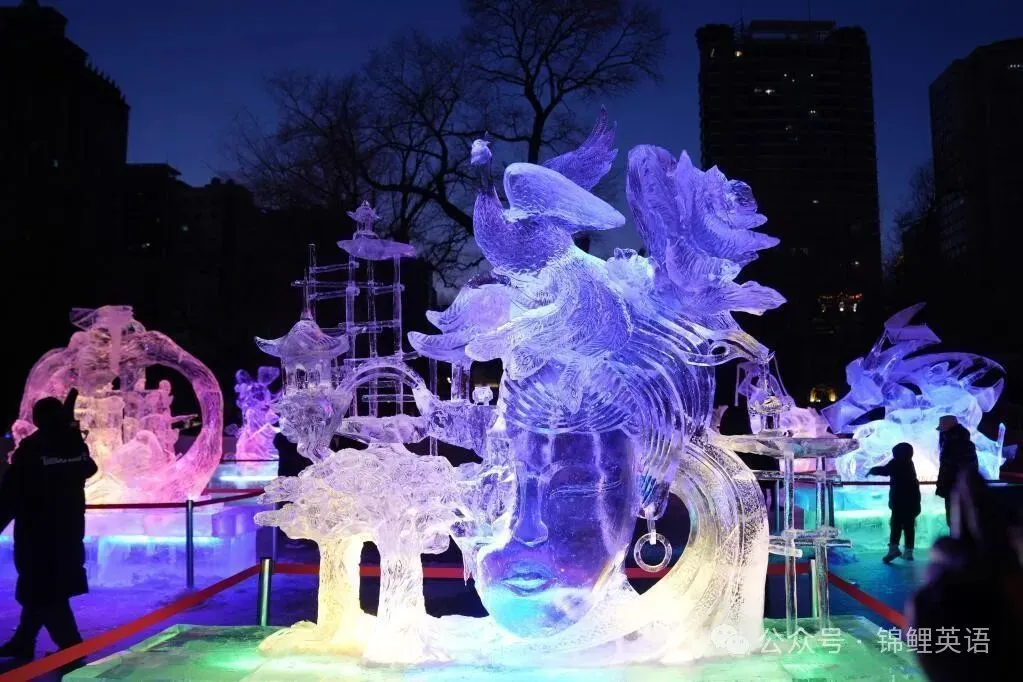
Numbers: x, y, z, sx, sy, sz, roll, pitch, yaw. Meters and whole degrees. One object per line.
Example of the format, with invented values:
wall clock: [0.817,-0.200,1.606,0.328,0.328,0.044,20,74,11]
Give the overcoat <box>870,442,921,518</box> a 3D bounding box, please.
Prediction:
overcoat: [4.189,1.504,10.656,0.352,0.778,0.340,-2,-3,9]

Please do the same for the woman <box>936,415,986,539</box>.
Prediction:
woman: [4.543,1.356,10.091,0.396,1.159,1.438,-3,-3,24]

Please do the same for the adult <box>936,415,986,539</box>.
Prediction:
adult: [4.551,1.356,10.108,0.396,1.159,1.401,-3,-3,24]

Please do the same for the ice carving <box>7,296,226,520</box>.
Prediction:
ice carving: [-4.577,0.778,11.213,3.205,2.900,0.797,1,2,-8]

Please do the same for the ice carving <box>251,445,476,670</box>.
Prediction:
ice carving: [-0.998,1.699,7.875,1.757,1.436,1.497,0,-10,8]

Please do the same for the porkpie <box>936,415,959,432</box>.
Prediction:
porkpie: [4.557,0.872,10.339,0.178,0.095,0.190,-7,-8,-7]
